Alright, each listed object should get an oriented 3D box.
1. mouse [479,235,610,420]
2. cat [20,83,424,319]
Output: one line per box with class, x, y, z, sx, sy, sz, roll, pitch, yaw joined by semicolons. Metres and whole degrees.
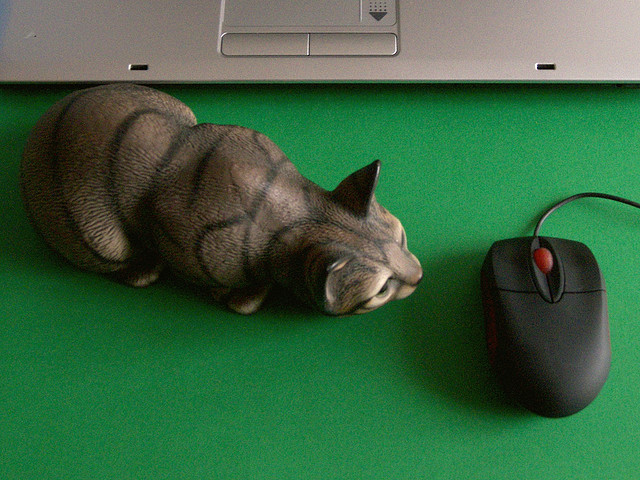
mouse;0.364;0.131;0.943;0.172;0.100;0.306;2;71;-1
cat;-0.165;-0.058;1.017;0.601;0.253;0.368;20;70;-5
